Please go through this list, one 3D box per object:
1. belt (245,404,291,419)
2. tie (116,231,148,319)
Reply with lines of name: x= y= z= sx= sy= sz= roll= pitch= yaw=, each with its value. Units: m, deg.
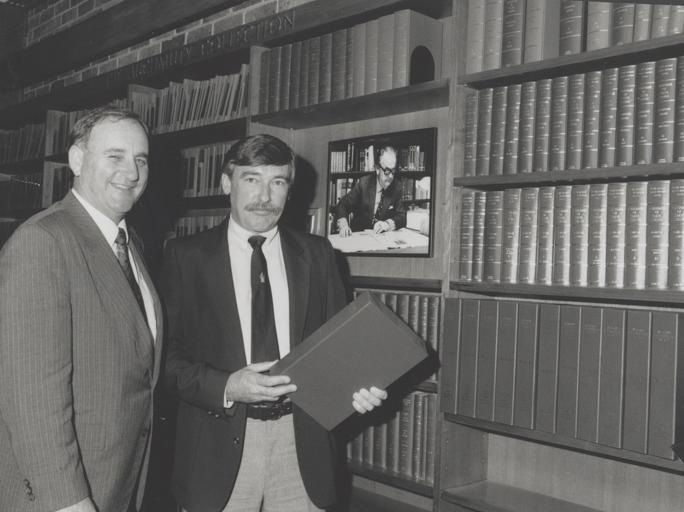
belt: x=-0.261 y=0.563 z=2.293 sx=0.073 sy=0.034 sz=0.087 roll=2 pitch=-4 yaw=-34
tie: x=-0.704 y=0.072 z=2.116 sx=0.030 sy=0.306 sz=0.041 roll=-24 pitch=-6 yaw=38
